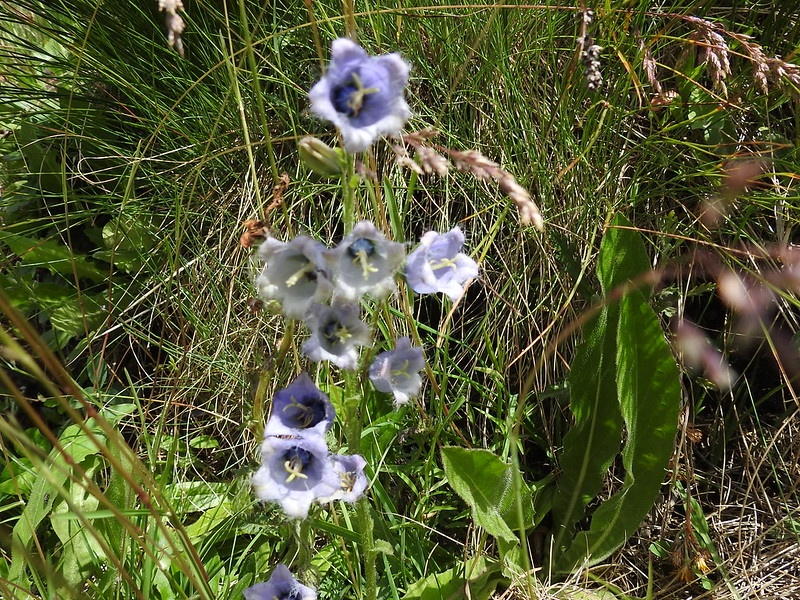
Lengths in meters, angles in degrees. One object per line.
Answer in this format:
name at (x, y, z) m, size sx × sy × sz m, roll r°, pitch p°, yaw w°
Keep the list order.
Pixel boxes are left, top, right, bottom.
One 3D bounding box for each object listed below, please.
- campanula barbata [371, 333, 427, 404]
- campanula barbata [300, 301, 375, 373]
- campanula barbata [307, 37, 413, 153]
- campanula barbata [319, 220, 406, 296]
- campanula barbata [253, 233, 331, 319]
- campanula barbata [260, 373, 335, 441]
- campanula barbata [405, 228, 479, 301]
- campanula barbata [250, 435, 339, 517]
campanula barbata at (-0.008, 0.193, 2.121) m, size 0.164 × 0.092 × 0.202 m, roll -4°, pitch 90°, yaw -23°
campanula barbata at (-0.162, 0.116, 1.926) m, size 0.209 × 0.091 × 0.196 m, roll 12°, pitch 14°, yaw 43°
campanula barbata at (-0.112, -0.531, 1.828) m, size 0.206 × 0.103 × 0.194 m, roll 12°, pitch 37°, yaw 43°
campanula barbata at (-0.088, -0.099, 1.837) m, size 0.203 × 0.164 × 0.133 m, roll -8°, pitch 49°, yaw -11°
campanula barbata at (-0.273, -0.041, 1.865) m, size 0.205 × 0.256 × 0.121 m, roll 18°, pitch 48°, yaw 12°
campanula barbata at (-0.286, 0.309, 2.005) m, size 0.190 × 0.120 × 0.181 m, roll 1°, pitch 50°, yaw -3°
campanula barbata at (0.113, -0.082, 2.078) m, size 0.231 × 0.199 × 0.143 m, roll -33°, pitch 57°, yaw -28°
campanula barbata at (-0.281, 0.472, 1.945) m, size 0.221 × 0.142 × 0.181 m, roll 17°, pitch 50°, yaw 10°
